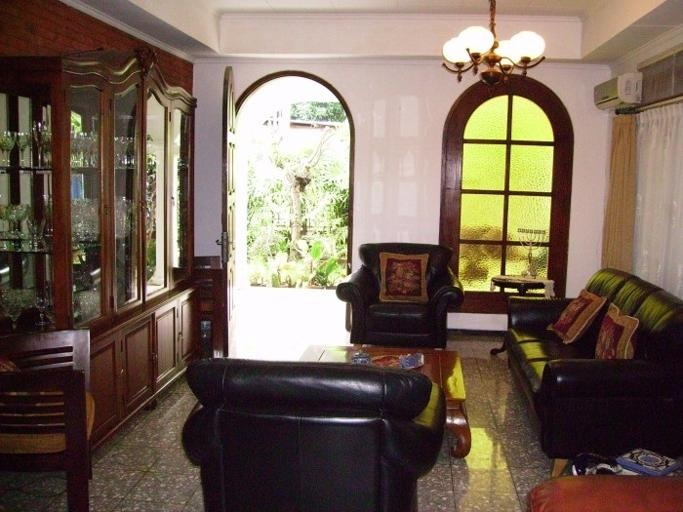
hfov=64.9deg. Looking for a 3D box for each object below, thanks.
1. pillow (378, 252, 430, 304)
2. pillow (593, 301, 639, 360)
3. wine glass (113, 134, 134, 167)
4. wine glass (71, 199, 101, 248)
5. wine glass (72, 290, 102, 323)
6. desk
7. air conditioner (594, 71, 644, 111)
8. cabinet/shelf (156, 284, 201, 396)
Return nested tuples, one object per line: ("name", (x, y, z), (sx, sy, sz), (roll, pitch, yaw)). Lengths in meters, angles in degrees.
("pillow", (0.659, 0.249, 5.657), (0.469, 0.501, 0.083), (0, -20, 4))
("pillow", (1.946, 0.530, 3.792), (0.089, 0.297, 0.416), (17, 4, 1))
("wine glass", (-1.590, -0.782, 3.918), (0.166, 0.199, 0.172), (1, 3, 26))
("wine glass", (-1.673, -0.232, 3.504), (0.203, 0.243, 0.209), (1, 1, -7))
("wine glass", (-1.676, 0.326, 3.499), (0.189, 0.096, 0.304), (-2, 9, -13))
("desk", (2.009, 0.591, 5.989), (0.774, 0.913, 0.733), (2, 4, 34))
("air conditioner", (2.825, -1.671, 5.474), (0.334, 0.300, 0.633), (2, 8, 14))
("cabinet/shelf", (-1.372, 0.684, 4.419), (0.140, 0.494, 0.867), (-2, 9, -1))
